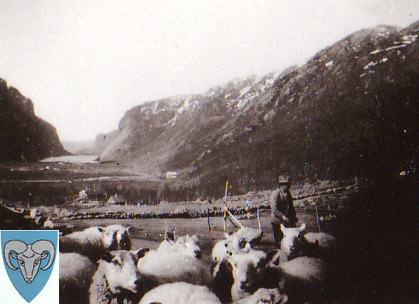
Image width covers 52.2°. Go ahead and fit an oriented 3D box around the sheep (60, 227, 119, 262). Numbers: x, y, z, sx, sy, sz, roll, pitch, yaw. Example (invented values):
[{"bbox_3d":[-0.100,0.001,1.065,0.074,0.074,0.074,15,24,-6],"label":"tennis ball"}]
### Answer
[{"bbox_3d":[-1.724,1.430,6.538,0.917,0.682,0.397,-4,-11,7],"label":"sheep"}]
